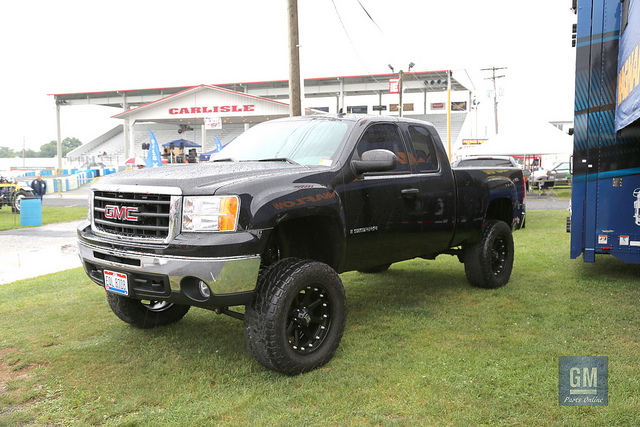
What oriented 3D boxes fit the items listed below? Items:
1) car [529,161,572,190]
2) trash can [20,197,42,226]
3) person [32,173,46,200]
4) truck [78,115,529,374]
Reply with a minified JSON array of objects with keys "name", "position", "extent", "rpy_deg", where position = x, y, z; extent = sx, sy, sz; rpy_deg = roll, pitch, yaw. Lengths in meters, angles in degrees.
[{"name":"car","position":[16.051,-2.552,33.837],"extent":[4.125,1.866,1.469],"rpy_deg":[-12,16,-42]},{"name":"trash can","position":[-10.177,-0.077,17.366],"extent":[0.673,1.008,0.650],"rpy_deg":[-2,3,-36]},{"name":"person","position":[-13.511,-1.385,23.678],"extent":[0.546,1.268,2.368],"rpy_deg":[-8,14,-28]},{"name":"truck","position":[0.167,0.210,6.758],"extent":[2.993,2.241,5.347],"rpy_deg":[-3,-2,43]}]
